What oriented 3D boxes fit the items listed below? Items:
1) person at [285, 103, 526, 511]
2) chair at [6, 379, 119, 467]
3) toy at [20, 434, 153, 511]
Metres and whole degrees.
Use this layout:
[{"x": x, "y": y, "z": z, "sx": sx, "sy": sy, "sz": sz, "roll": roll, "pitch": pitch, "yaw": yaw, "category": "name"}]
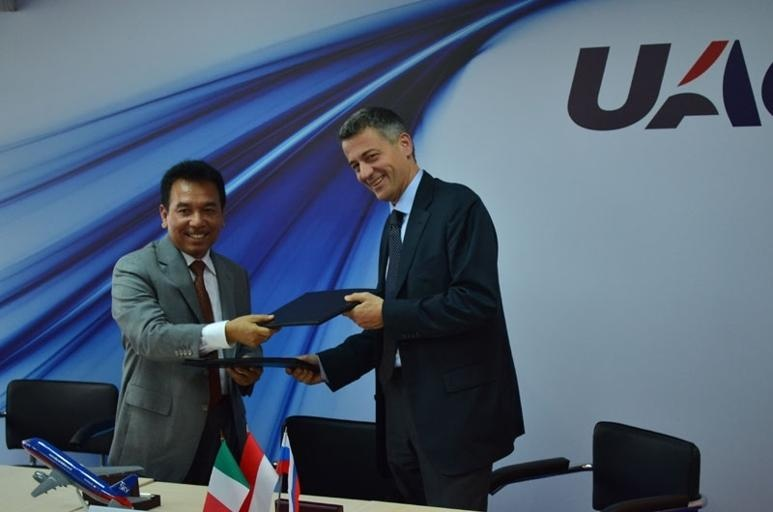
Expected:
[{"x": 0.217, "y": 0.274, "z": 3.560, "sx": 1.079, "sy": 2.173, "sz": 0.456, "roll": 3, "pitch": -4, "yaw": 13, "category": "person"}, {"x": -2.240, "y": 1.108, "z": 4.618, "sx": 0.688, "sy": 0.773, "sz": 0.627, "roll": 0, "pitch": -17, "yaw": -6, "category": "chair"}, {"x": -1.349, "y": 0.991, "z": 2.901, "sx": 0.447, "sy": 0.175, "sz": 0.368, "roll": 28, "pitch": 14, "yaw": 25, "category": "toy"}]
